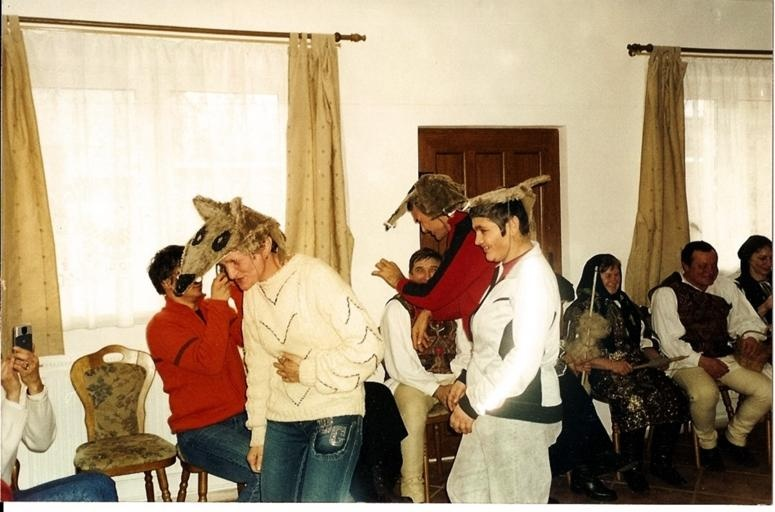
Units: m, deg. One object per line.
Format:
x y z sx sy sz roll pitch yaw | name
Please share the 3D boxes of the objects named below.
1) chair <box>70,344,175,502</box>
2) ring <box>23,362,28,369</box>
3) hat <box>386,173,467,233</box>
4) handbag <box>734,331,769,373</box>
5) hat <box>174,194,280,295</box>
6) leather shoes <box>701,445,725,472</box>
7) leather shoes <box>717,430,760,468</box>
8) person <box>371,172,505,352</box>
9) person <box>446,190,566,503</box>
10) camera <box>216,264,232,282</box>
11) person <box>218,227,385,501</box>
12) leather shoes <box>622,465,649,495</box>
-1.731 1.250 5.248 0.615 1.159 0.810 0 4 -32 | chair
-2.031 0.620 4.477 0.026 0.049 0.027 3 6 0 | ring
0.200 -0.366 5.280 0.587 0.265 0.322 -15 22 -3 | hat
2.667 0.689 5.858 0.251 0.265 0.077 4 9 -21 | handbag
-0.884 0.031 4.573 0.552 0.539 0.193 27 -11 21 | hat
2.306 1.449 5.699 0.098 0.100 0.221 -11 31 -3 | leather shoes
2.553 1.419 5.844 0.127 0.150 0.354 -17 26 -8 | leather shoes
0.304 0.194 5.342 0.791 1.483 0.811 7 10 44 | person
0.673 0.509 4.534 0.598 1.782 0.266 -1 6 9 | person
-0.948 0.101 4.609 0.065 0.090 0.080 -9 9 19 | camera
-0.458 0.625 4.423 0.836 1.505 0.368 0 7 21 | person
1.692 1.521 5.547 0.117 0.098 0.243 -34 30 -3 | leather shoes
